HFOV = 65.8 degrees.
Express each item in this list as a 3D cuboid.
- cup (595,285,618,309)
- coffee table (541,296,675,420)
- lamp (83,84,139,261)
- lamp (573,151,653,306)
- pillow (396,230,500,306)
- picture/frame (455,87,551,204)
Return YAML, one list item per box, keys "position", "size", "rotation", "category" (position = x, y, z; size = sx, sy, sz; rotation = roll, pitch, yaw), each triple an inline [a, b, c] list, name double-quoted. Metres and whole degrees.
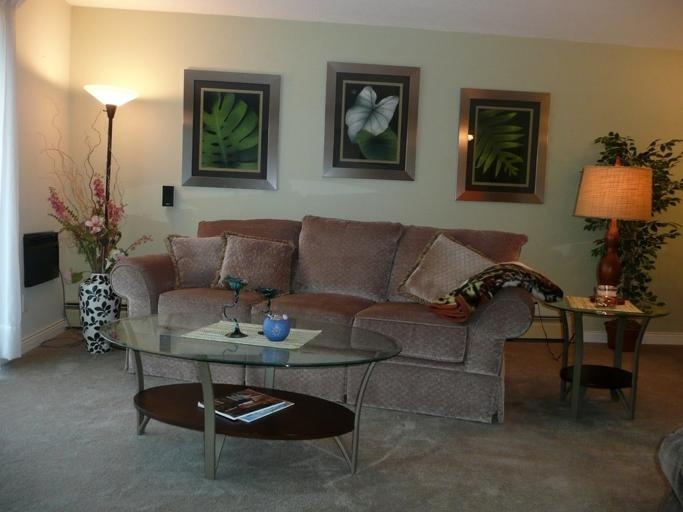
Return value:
- position: [1.751, 0.271, 3.527]
  size: [0.140, 0.143, 0.137]
  rotation: [4, -3, 0]
  category: "cup"
- position: [1.736, 0.662, 3.667]
  size: [0.855, 0.777, 0.881]
  rotation: [1, -1, 18]
  category: "coffee table"
- position: [-1.932, -0.756, 4.552]
  size: [0.386, 1.458, 0.912]
  rotation: [-2, 11, -22]
  category: "lamp"
- position: [1.912, -0.240, 3.818]
  size: [0.496, 0.950, 0.750]
  rotation: [10, 12, 36]
  category: "lamp"
- position: [0.718, 0.067, 3.621]
  size: [0.493, 0.512, 0.124]
  rotation: [17, -17, 47]
  category: "pillow"
- position: [1.472, -1.078, 4.916]
  size: [0.988, 1.233, 0.080]
  rotation: [3, 3, -4]
  category: "picture/frame"
